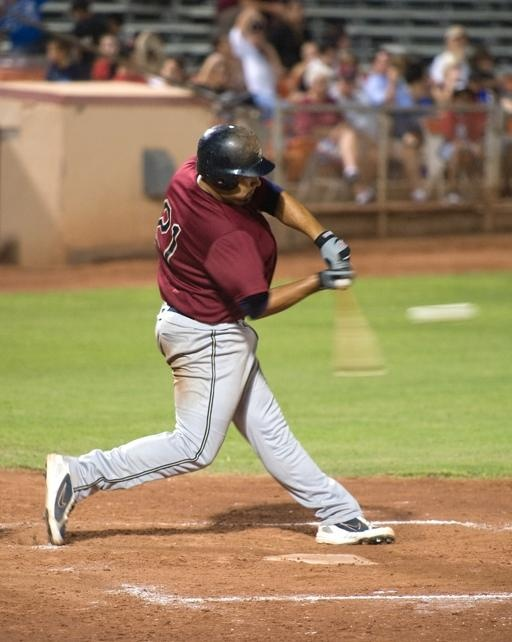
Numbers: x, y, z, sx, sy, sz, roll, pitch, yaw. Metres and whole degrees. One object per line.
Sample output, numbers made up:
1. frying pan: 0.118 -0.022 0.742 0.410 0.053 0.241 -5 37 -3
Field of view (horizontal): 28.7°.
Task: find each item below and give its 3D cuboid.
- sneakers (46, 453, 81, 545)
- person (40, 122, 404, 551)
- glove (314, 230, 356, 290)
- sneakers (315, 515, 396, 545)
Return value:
1. sneakers: -0.642 0.603 3.372 0.180 0.273 0.110 1 6 2
2. person: -0.017 0.098 3.584 1.019 1.378 1.026 -4 4 -42
3. glove: 0.237 -0.195 3.199 0.126 0.181 0.112 3 20 17
4. sneakers: 0.338 0.739 3.506 0.287 0.089 0.094 -1 -4 1
